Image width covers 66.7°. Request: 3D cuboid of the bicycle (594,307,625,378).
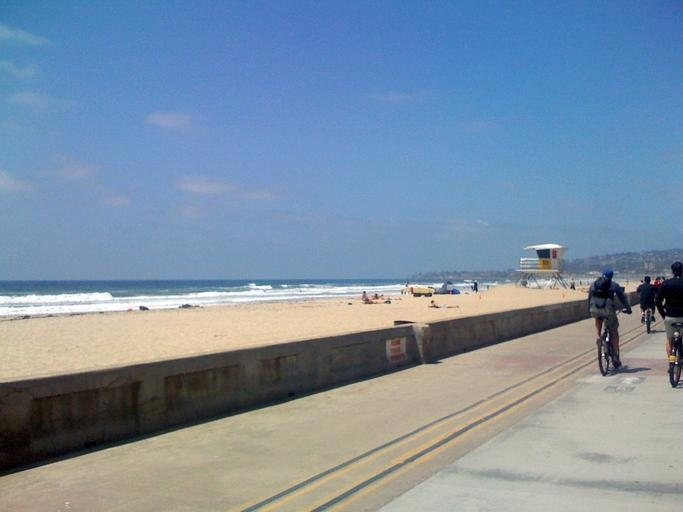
[{"bbox_3d":[5.764,1.994,11.275,0.662,0.827,1.363,-3,8,31],"label":"bicycle"}]
